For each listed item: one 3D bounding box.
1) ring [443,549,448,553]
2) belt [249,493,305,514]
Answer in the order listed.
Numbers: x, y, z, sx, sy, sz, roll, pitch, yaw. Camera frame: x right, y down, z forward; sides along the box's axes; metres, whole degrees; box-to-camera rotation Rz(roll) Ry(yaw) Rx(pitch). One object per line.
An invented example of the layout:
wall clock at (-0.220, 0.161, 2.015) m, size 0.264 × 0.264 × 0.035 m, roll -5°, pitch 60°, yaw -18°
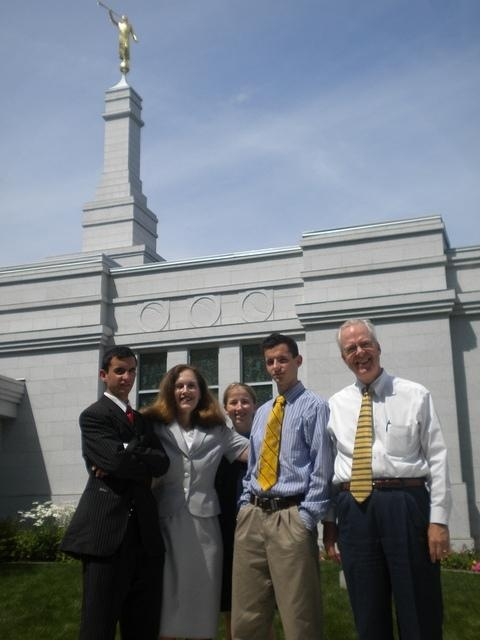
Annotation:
ring at (1.152, 1.294, 3.760) m, size 0.030 × 0.026 × 0.007 m, roll -5°, pitch 7°, yaw -39°
belt at (0.242, 1.162, 4.278) m, size 0.352 × 0.104 × 0.101 m, roll -11°, pitch -13°, yaw 39°
